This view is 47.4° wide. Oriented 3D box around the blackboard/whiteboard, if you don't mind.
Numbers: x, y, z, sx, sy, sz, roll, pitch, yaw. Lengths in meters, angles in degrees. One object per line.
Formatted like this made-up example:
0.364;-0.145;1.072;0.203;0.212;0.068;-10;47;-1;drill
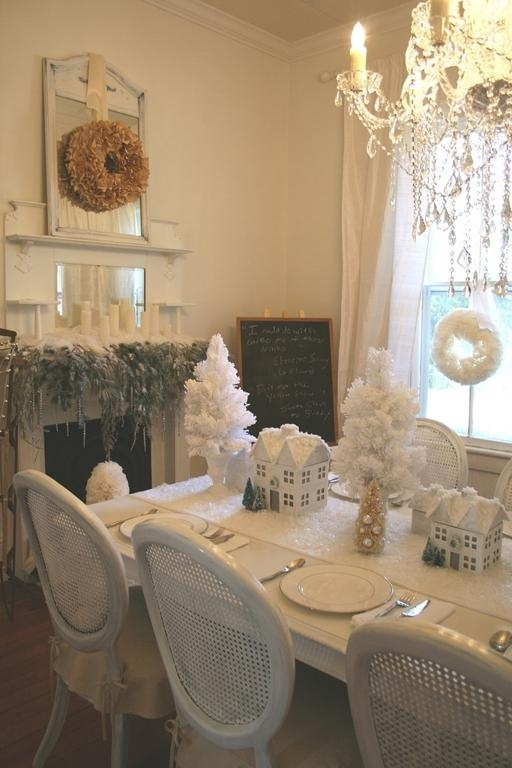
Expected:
0.194;-0.033;3.746;0.624;0.940;0.028;0;-28;0;blackboard/whiteboard

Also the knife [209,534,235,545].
-0.079;0.358;1.360;0.012;0.025;0.082;-11;4;-37;knife

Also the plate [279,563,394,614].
0.148;0.383;1.087;0.197;0.016;0.208;3;5;36;plate
